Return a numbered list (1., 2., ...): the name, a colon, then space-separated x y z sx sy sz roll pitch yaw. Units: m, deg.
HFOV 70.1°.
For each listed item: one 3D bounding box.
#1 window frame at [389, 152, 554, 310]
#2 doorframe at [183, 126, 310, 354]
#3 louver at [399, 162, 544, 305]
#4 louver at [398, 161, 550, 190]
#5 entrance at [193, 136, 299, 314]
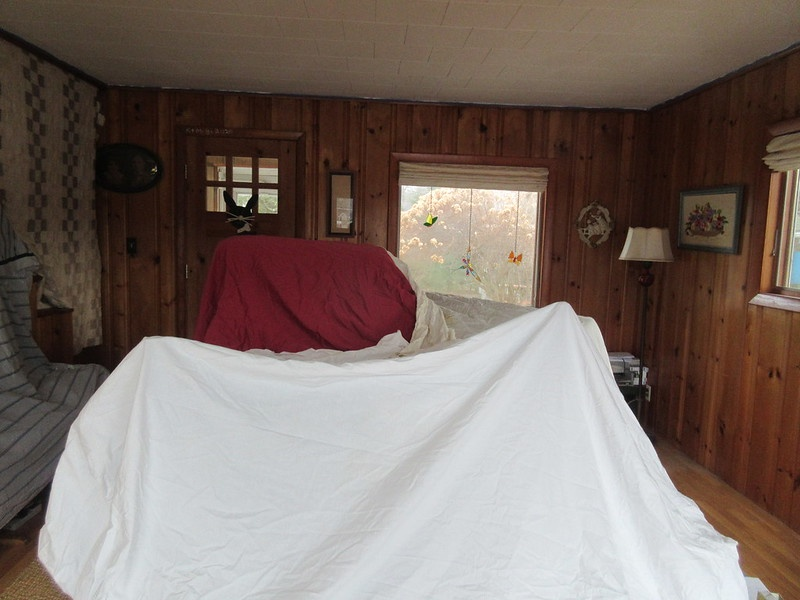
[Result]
1. window frame: 0.561 -0.611 4.582 1.158 1.239 0.133 0 6 -1
2. doorframe: -1.225 -0.519 4.462 1.004 2.114 0.146 -2 -26 -15
3. louver: 0.612 -0.501 5.054 1.316 1.674 0.143 3 42 9
4. louver: 0.599 -1.000 4.650 1.228 0.195 0.056 2 8 -3
5. entrance: -1.380 -0.624 5.014 1.091 0.237 2.219 -7 -37 -20
